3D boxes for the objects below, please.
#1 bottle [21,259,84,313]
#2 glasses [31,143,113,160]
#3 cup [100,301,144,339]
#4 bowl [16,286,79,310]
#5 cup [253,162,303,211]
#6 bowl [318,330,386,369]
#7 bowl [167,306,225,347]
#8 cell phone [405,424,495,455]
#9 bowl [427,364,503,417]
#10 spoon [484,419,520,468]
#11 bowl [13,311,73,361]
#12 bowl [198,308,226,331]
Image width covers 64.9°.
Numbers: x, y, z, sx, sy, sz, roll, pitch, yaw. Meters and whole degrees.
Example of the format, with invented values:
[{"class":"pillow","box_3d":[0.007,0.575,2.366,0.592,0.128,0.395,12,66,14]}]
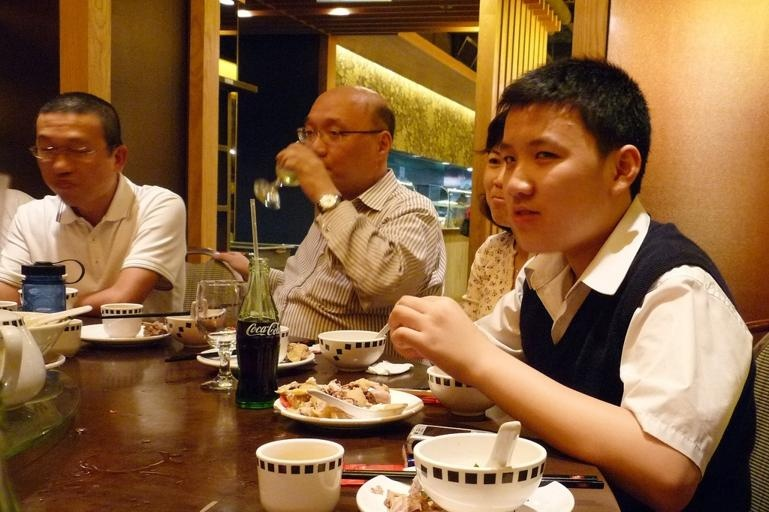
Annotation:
[{"class":"bottle","box_3d":[-1.281,0.121,2.396,0.238,0.230,0.143,2,-2,-33]},{"class":"glasses","box_3d":[-1.582,-0.521,3.101,0.372,0.077,0.136,-1,8,-24]},{"class":"cup","box_3d":[-0.968,0.237,2.276,0.137,0.099,0.127,2,-2,0]},{"class":"bowl","box_3d":[-1.291,0.158,2.336,0.152,0.137,0.146,3,4,0]},{"class":"cup","box_3d":[-0.476,-0.311,2.775,0.188,0.188,0.150,3,8,4]},{"class":"bowl","box_3d":[-0.110,0.306,1.999,0.154,0.077,0.152,3,-7,0]},{"class":"bowl","box_3d":[-0.662,0.231,2.095,0.211,0.117,0.207,1,3,0]},{"class":"cell phone","box_3d":[0.127,0.433,1.469,0.150,0.038,0.086,0,0,1]},{"class":"bowl","box_3d":[0.198,0.371,1.698,0.138,0.076,0.136,5,-9,1]},{"class":"spoon","box_3d":[0.234,0.364,1.197,0.055,0.112,0.107,4,8,11]},{"class":"bowl","box_3d":[-0.992,0.226,1.784,0.190,0.139,0.200,1,0,0]},{"class":"bowl","box_3d":[-0.515,0.188,1.826,0.066,0.050,0.071,-1,-2,0]}]
